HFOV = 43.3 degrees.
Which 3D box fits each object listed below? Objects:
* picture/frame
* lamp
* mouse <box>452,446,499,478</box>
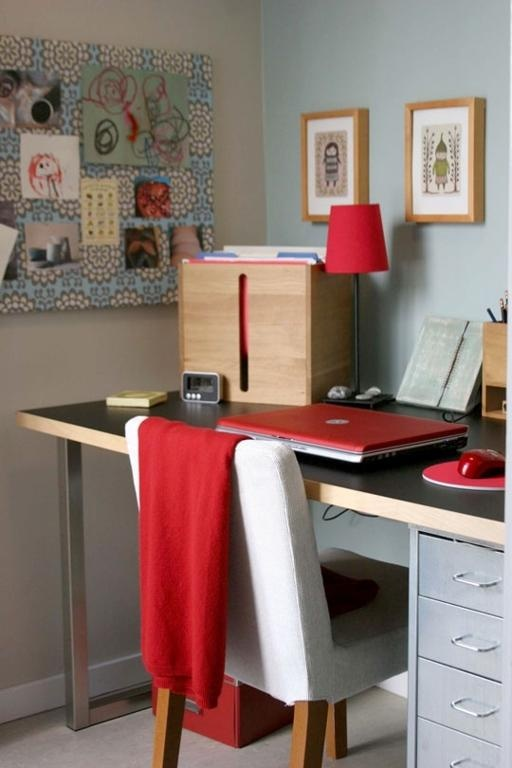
[{"bbox_3d":[0.327,-0.574,1.680,0.066,0.334,0.614,-11,15,-33],"label":"picture/frame"},{"bbox_3d":[0.249,-0.204,1.589,0.143,0.465,0.383,0,13,12],"label":"lamp"},{"bbox_3d":[0.289,0.103,0.827,0.060,0.033,0.052,-9,14,-21],"label":"mouse"}]
